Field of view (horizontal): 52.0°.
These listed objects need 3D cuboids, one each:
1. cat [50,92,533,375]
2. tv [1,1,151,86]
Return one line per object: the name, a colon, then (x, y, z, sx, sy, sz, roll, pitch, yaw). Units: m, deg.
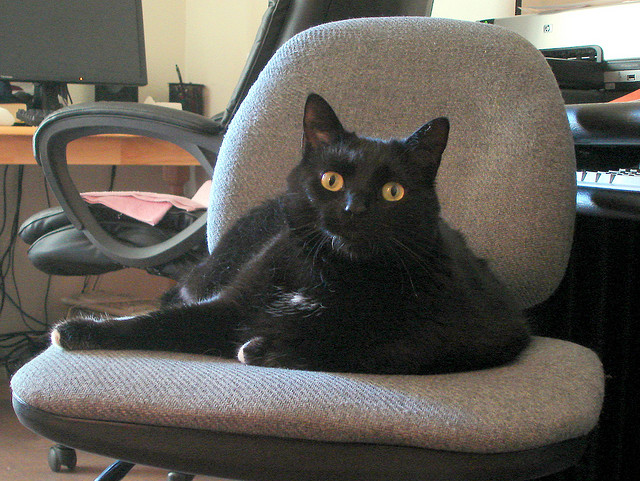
cat: (-0.023, 0.003, 1.099, 0.843, 0.307, 0.466, 1, 17, 28)
tv: (-0.673, -0.534, 1.769, 0.428, 0.178, 0.034, -3, 27, -18)
